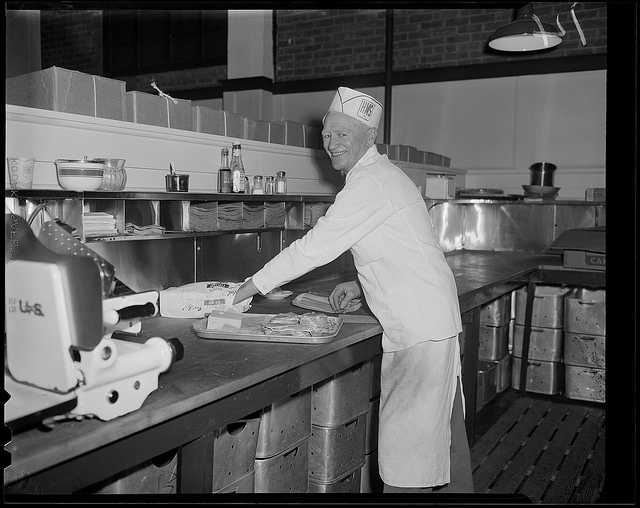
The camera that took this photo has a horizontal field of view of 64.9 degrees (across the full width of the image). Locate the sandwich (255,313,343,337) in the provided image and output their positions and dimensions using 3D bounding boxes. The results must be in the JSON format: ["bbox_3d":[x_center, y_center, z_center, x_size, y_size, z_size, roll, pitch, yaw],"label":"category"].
[{"bbox_3d":[-0.063,0.272,1.958,0.293,0.044,0.307,0,5,2],"label":"sandwich"}]

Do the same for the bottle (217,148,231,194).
[{"bbox_3d":[-0.549,-0.477,2.885,0.066,0.257,0.231,-1,5,-10],"label":"bottle"}]

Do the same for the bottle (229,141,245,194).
[{"bbox_3d":[-0.486,-0.505,2.937,0.083,0.300,0.234,-1,5,-9],"label":"bottle"}]

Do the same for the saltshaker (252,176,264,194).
[{"bbox_3d":[-0.376,-0.419,3.067,0.088,0.148,0.096,2,8,-4],"label":"saltshaker"}]

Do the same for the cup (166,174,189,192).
[{"bbox_3d":[-0.744,-0.371,2.617,0.103,0.092,0.074,3,13,8],"label":"cup"}]

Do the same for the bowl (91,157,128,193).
[{"bbox_3d":[-0.944,-0.348,2.288,0.176,0.207,0.159,1,2,-24],"label":"bowl"}]

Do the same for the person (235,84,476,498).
[{"bbox_3d":[0.251,0.212,2.101,0.890,1.801,0.324,-1,5,-1],"label":"person"}]

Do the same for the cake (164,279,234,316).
[{"bbox_3d":[-0.517,0.170,2.157,0.254,0.102,0.155,-5,3,6],"label":"cake"}]

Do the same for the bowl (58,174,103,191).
[{"bbox_3d":[-1.011,-0.297,2.110,0.170,0.070,0.155,-1,5,0],"label":"bowl"}]

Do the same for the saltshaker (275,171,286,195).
[{"bbox_3d":[-0.254,-0.451,3.190,0.064,0.146,0.177,-1,5,-8],"label":"saltshaker"}]

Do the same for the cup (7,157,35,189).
[{"bbox_3d":[-1.215,-0.328,2.032,0.111,0.134,0.104,1,1,0],"label":"cup"}]
